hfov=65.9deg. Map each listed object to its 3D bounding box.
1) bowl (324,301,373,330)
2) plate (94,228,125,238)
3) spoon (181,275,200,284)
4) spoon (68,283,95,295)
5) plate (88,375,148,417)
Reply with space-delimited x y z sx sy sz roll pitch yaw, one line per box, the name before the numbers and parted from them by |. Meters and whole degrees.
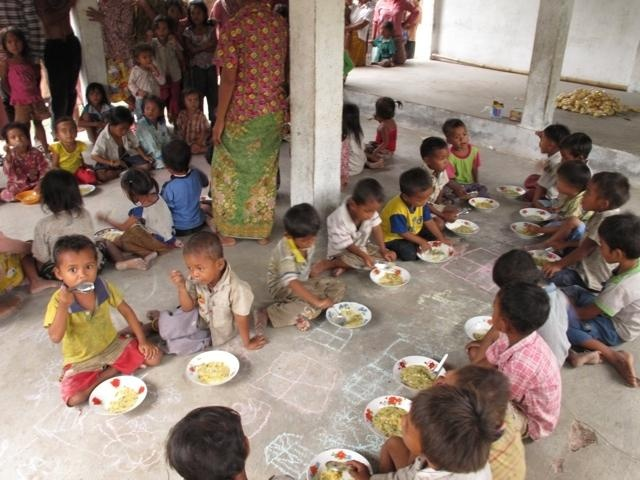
bowl | 0.232 0.604 3.962 0.262 0.060 0.233 -3 29 -10
plate | -2.073 -0.068 4.853 0.162 0.024 0.155 -21 39 -37
spoon | -0.932 0.283 3.549 0.056 0.030 0.080 27 -1 40
spoon | -1.502 0.305 3.129 0.121 0.028 0.067 -2 29 -17
plate | -1.333 1.024 3.257 0.338 0.090 0.290 -11 26 -27
